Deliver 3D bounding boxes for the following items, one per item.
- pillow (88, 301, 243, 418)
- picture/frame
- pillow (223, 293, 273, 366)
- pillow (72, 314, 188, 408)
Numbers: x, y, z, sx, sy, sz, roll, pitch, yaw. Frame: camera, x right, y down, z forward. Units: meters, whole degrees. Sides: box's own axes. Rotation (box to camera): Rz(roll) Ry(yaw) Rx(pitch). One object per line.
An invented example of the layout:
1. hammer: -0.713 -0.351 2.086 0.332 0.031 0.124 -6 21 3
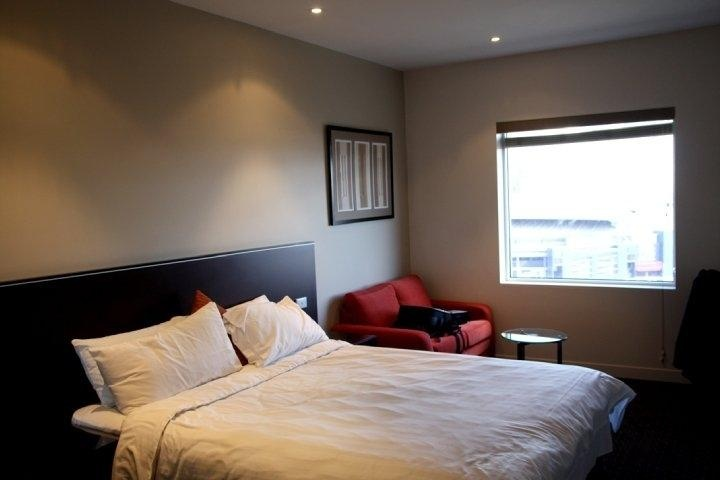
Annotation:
1. pillow: -1.314 0.854 3.525 0.904 0.566 0.256 -20 -5 -44
2. picture/frame: -0.035 -0.708 5.533 0.040 1.039 1.057 7 13 41
3. pillow: -0.892 0.684 4.002 0.393 0.405 0.112 -7 -15 -44
4. pillow: -1.738 0.818 3.450 0.543 0.535 0.128 -9 -15 -40
